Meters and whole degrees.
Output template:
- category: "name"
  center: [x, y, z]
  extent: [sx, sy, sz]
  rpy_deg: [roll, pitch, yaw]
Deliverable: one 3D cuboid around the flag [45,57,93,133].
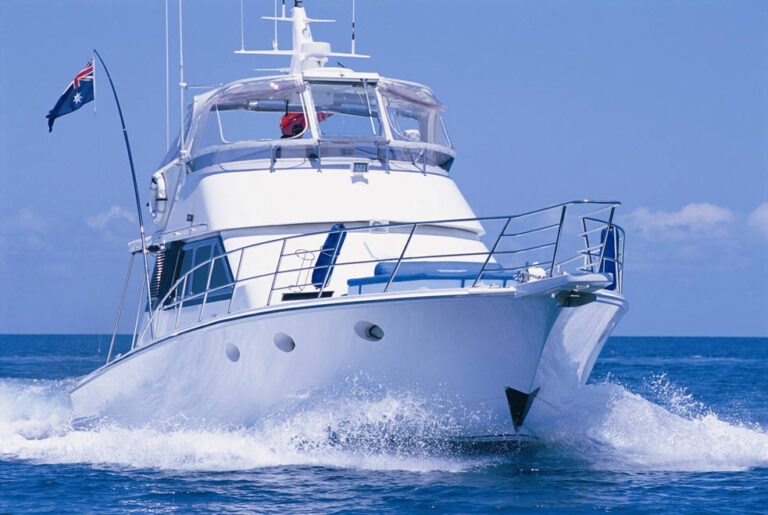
- category: "flag"
  center: [-6.362, -3.469, 40.285]
  extent: [1.107, 0.278, 2.442]
  rpy_deg: [-1, 48, 5]
